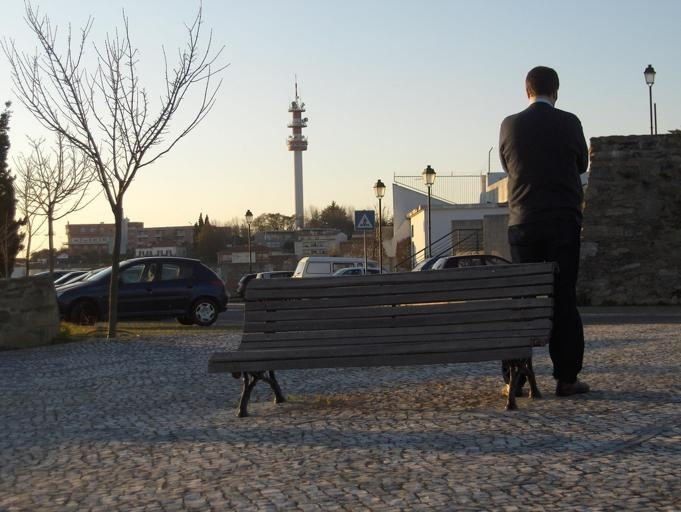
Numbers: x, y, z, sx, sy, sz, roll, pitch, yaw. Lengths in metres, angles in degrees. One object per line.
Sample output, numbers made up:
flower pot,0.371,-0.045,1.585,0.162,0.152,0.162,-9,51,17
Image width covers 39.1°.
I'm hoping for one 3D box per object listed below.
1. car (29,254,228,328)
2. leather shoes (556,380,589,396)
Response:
car,-3.615,0.710,17.359,2.827,1.015,1.353,3,-6,-20
leather shoes,1.914,1.048,7.860,0.270,0.163,0.109,-10,12,-28
